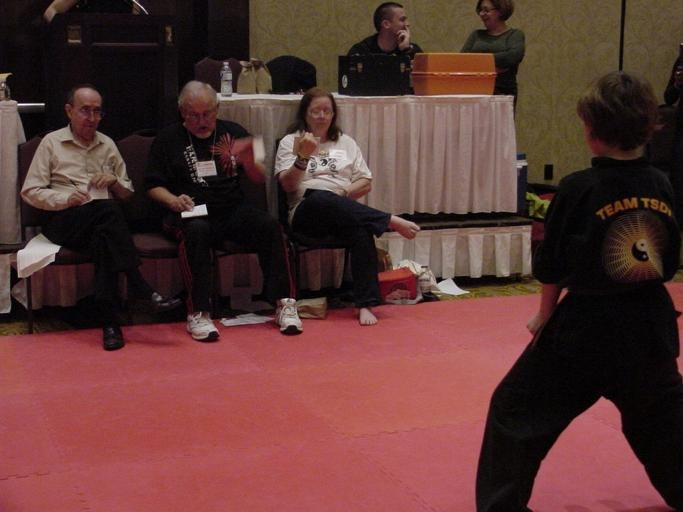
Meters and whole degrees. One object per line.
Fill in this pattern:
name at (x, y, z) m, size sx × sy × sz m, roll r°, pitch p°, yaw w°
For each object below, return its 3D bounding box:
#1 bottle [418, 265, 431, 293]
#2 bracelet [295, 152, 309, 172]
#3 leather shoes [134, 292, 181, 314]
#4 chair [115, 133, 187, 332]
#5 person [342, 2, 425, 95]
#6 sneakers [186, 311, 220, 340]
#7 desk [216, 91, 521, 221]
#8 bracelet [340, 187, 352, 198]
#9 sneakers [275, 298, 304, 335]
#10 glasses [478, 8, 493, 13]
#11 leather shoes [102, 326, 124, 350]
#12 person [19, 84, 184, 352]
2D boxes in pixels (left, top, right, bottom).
bottle at (0.602, 0.171, 4.346) m, size 0.069 × 0.172 × 0.117 m, roll 4°, pitch 12°, yaw 19°
bracelet at (-0.247, -0.591, 3.802) m, size 0.082 × 0.095 × 0.092 m, roll 14°, pitch 5°, yaw 28°
leather shoes at (-1.058, 0.287, 3.491) m, size 0.305 × 0.141 × 0.124 m, roll -3°, pitch 9°, yaw 17°
chair at (-1.225, -0.257, 3.819) m, size 0.475 × 0.920 × 0.553 m, roll -19°, pitch 45°, yaw -30°
person at (0.295, -1.645, 4.769) m, size 0.556 × 0.764 × 0.785 m, roll 2°, pitch 12°, yaw 6°
sneakers at (-0.770, 0.402, 3.433) m, size 0.096 × 0.111 × 0.236 m, roll -4°, pitch 2°, yaw -29°
desk at (0.625, -0.816, 4.978) m, size 1.556 × 0.866 × 1.013 m, roll -2°, pitch 11°, yaw -12°
bracelet at (0.036, -0.417, 3.979) m, size 0.059 × 0.025 × 0.056 m, roll 27°, pitch 29°, yaw 3°
sneakers at (-0.307, 0.349, 3.610) m, size 0.150 × 0.177 × 0.245 m, roll -2°, pitch 12°, yaw -10°
glasses at (1.295, -2.213, 5.460) m, size 0.074 × 0.025 × 0.073 m, roll 5°, pitch -4°, yaw -39°
leather shoes at (-1.246, 0.443, 3.336) m, size 0.112 × 0.096 × 0.179 m, roll -4°, pitch 13°, yaw -22°
person at (-1.432, -0.276, 3.531) m, size 0.877 × 1.409 × 0.578 m, roll 11°, pitch 15°, yaw 43°
